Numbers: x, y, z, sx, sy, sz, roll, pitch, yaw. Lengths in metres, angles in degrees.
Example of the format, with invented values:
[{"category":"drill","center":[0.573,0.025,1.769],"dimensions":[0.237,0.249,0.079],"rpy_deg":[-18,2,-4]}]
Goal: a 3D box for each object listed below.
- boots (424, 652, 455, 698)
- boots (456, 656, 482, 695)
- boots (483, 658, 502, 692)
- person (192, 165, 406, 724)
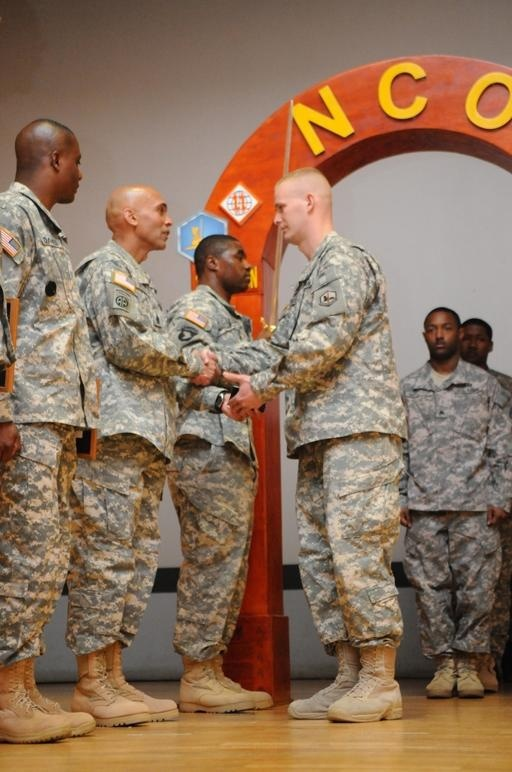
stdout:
[{"category":"boots","center":[0.736,1.162,3.254],"dimensions":[0.118,0.137,0.407],"rpy_deg":[-3,-12,12]},{"category":"boots","center":[0.846,1.158,3.274],"dimensions":[0.098,0.121,0.343],"rpy_deg":[-3,-13,13]},{"category":"boots","center":[0.978,1.204,3.448],"dimensions":[0.069,0.136,0.232],"rpy_deg":[-3,-13,15]},{"category":"person","center":[0.158,0.228,2.410],"dimensions":[0.521,1.419,0.449],"rpy_deg":[-11,-18,38]}]
